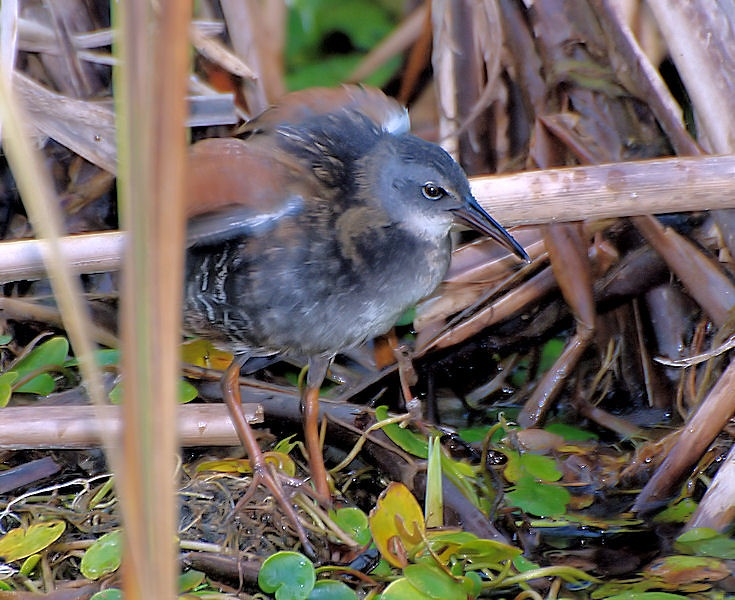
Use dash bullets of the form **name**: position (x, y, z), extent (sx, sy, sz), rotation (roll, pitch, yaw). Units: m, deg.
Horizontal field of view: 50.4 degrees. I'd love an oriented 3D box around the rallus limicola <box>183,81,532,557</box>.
- **rallus limicola**: position (-0.090, -0.043, 1.310), extent (0.500, 0.577, 0.520), rotation (23, 37, 24)
